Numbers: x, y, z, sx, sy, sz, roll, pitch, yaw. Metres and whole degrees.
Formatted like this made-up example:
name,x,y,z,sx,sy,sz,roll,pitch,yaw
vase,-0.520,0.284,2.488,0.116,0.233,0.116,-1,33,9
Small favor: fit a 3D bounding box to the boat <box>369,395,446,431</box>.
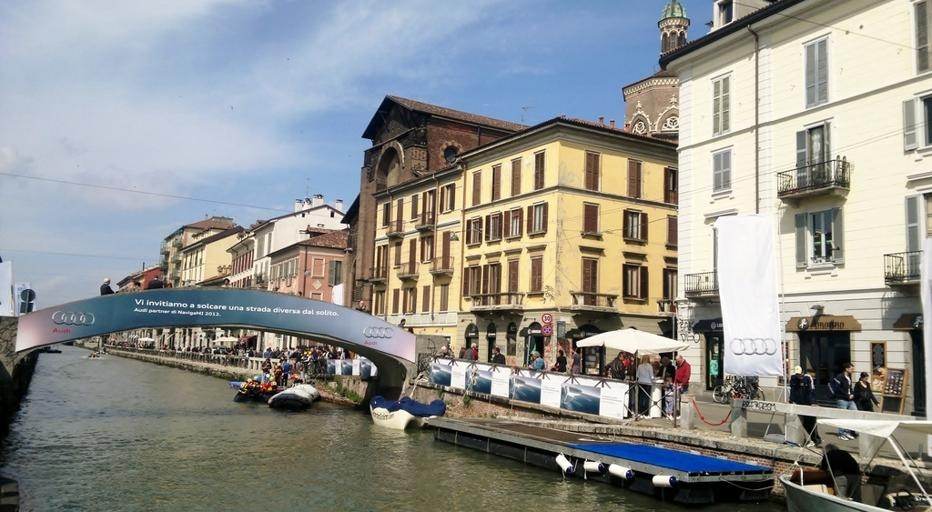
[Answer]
name,x,y,z,sx,sy,sz,roll,pitch,yaw
boat,-3.607,9.241,46.278,4.624,1.878,1.802,-4,-13,37
